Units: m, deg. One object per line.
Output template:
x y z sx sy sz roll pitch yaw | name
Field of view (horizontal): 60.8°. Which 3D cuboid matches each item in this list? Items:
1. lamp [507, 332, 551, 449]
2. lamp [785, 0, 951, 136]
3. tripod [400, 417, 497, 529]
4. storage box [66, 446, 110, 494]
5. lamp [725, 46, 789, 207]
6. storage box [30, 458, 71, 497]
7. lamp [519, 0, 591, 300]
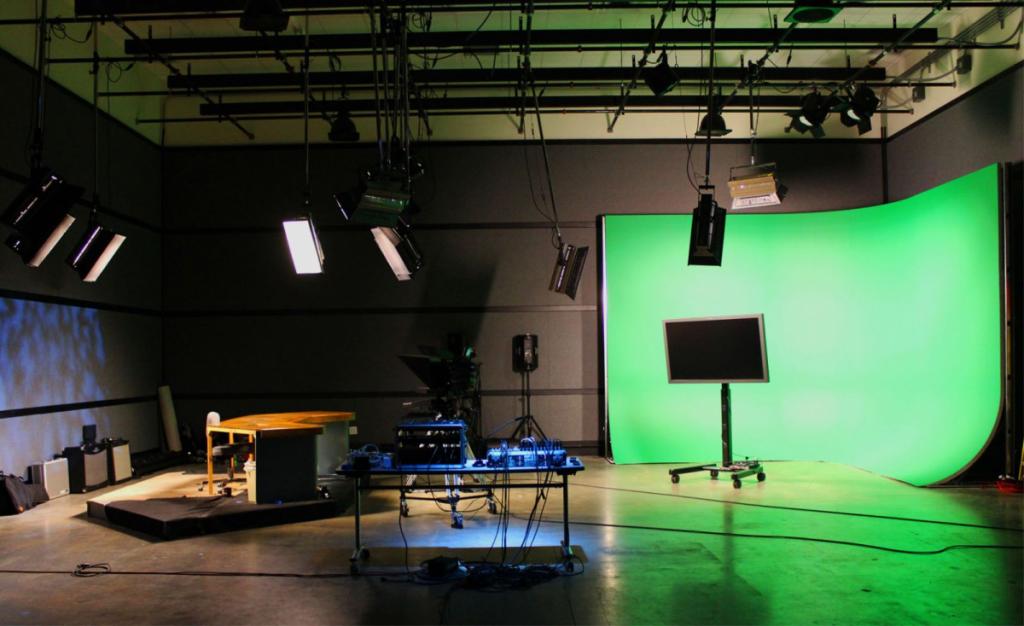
0.233 1.204 13.887 0.589 1.761 0.904 -1 -6 0 | lamp
5.053 -3.352 12.737 1.597 1.473 2.648 0 -7 -14 | lamp
-0.800 2.012 10.616 1.432 1.188 0.940 0 4 13 | tripod
-5.982 2.231 12.292 0.536 0.627 0.201 2 -7 -26 | storage box
3.649 -2.681 13.232 0.819 2.483 2.765 -3 -6 14 | lamp
-6.308 2.281 11.906 0.203 0.532 0.537 -6 -3 16 | storage box
0.668 -2.439 13.526 0.878 1.212 4.695 -11 -48 9 | lamp
